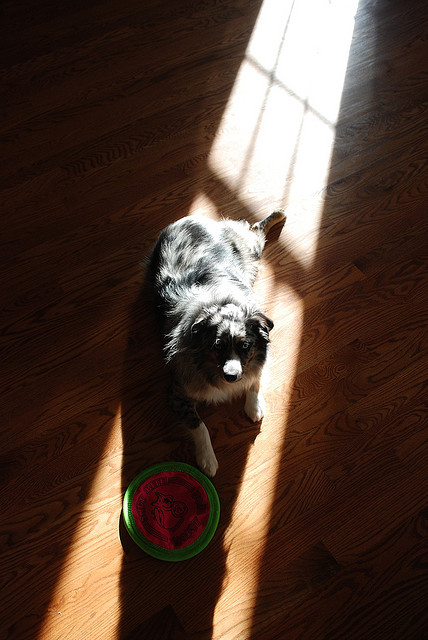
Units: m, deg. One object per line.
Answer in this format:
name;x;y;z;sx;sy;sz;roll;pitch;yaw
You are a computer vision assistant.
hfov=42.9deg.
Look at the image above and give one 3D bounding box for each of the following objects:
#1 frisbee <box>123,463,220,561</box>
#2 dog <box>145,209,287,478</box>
frisbee;-0.165;0.749;2.145;0.364;0.076;0.361;-16;72;-12
dog;0.010;0.031;2.363;0.667;0.454;1.052;-6;69;-7
